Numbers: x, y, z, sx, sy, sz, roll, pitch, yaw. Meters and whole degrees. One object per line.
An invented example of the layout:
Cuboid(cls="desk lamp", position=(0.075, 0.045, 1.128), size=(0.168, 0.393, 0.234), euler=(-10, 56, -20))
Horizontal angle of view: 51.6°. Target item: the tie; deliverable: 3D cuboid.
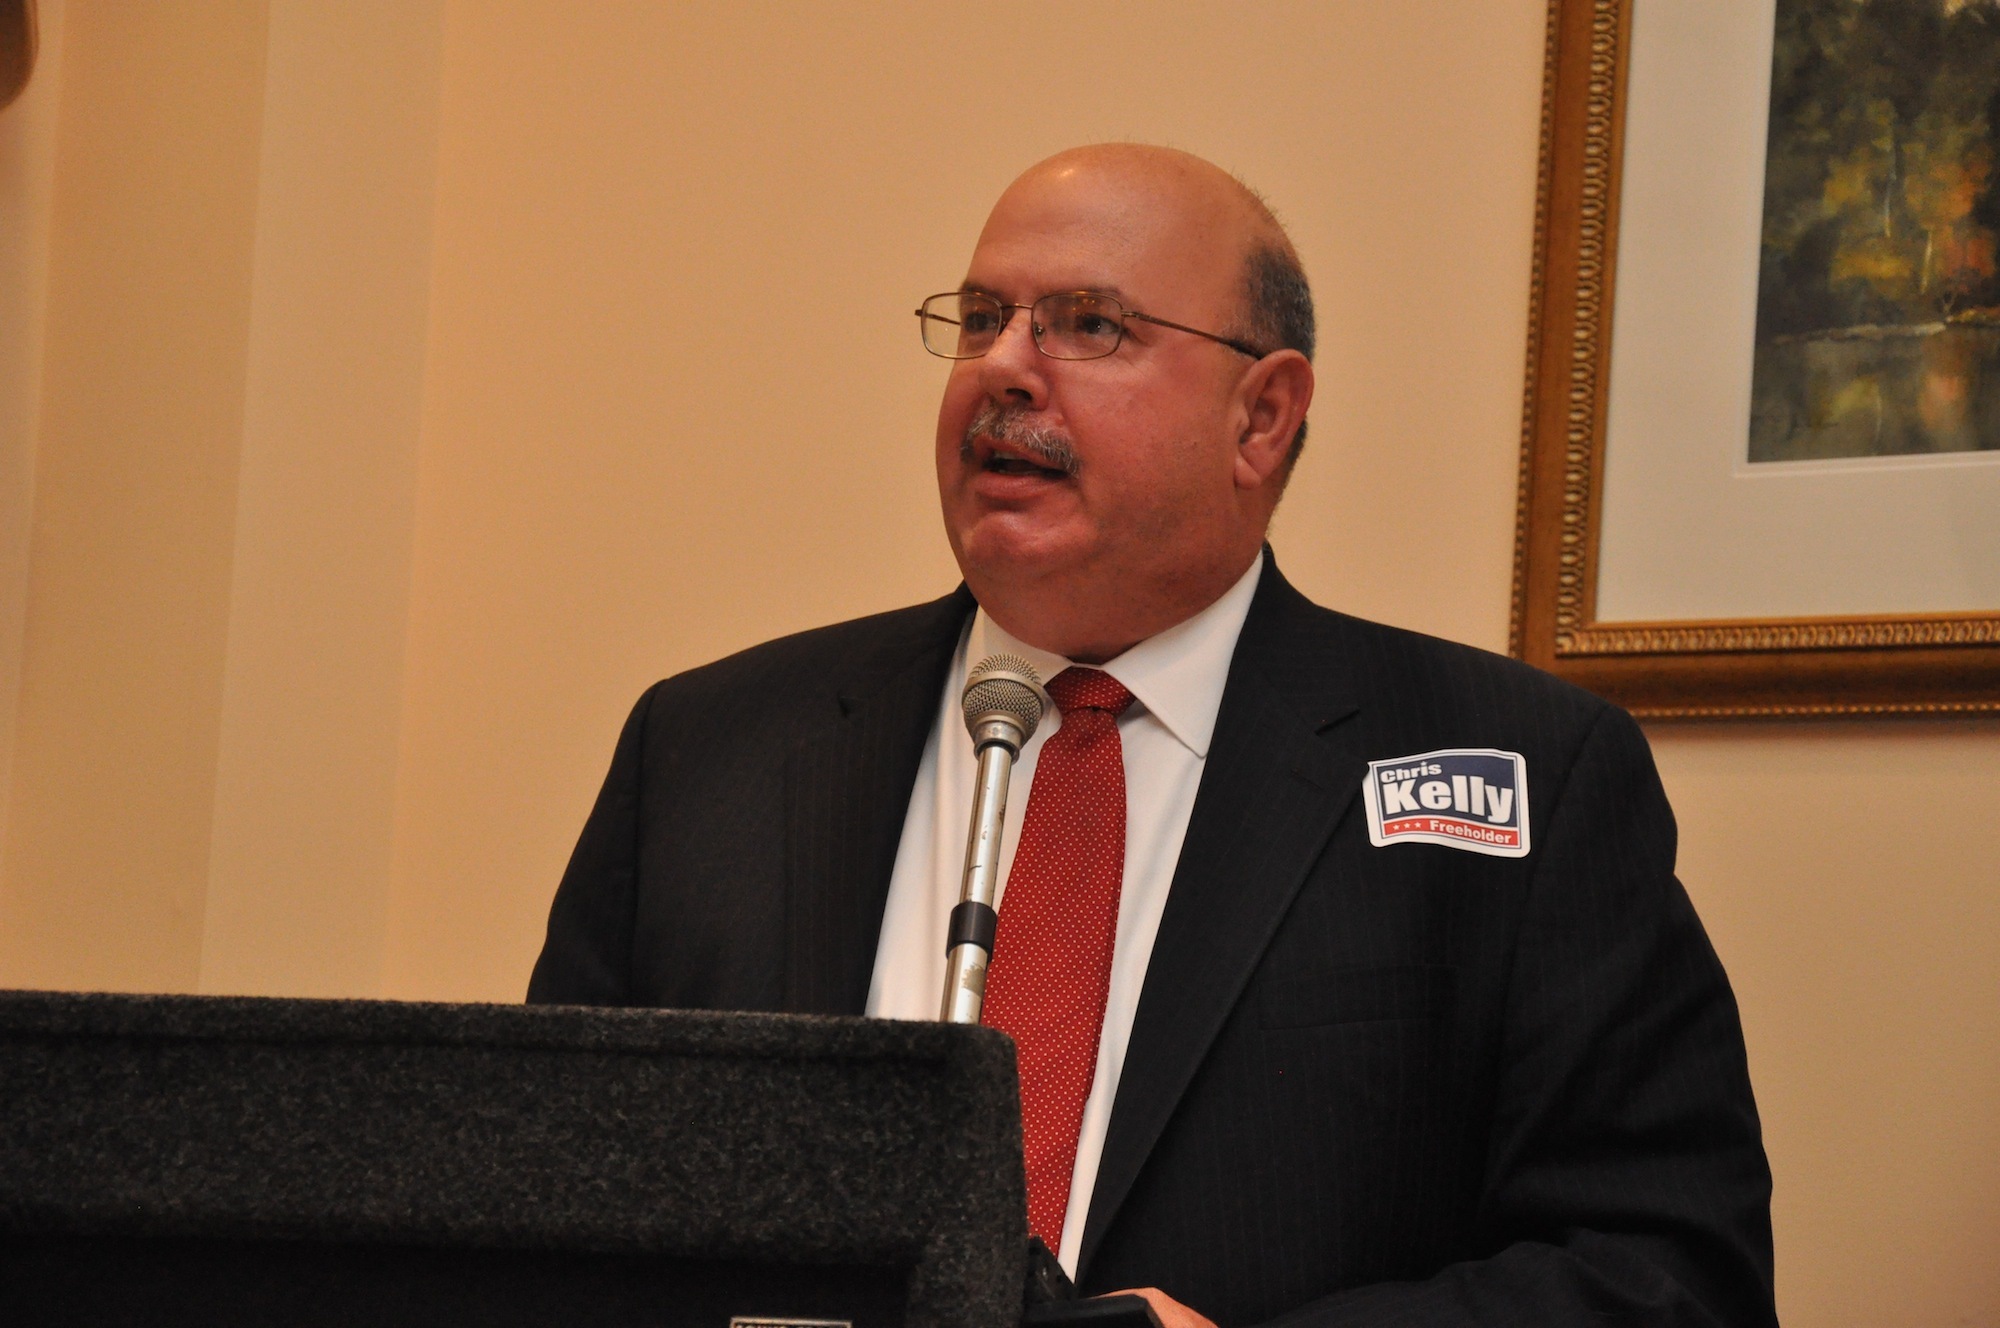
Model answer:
Cuboid(cls="tie", position=(0.070, 0.318, 2.417), size=(0.139, 0.616, 0.058), euler=(-1, -22, 26))

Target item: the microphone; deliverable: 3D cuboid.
Cuboid(cls="microphone", position=(-0.004, 0.166, 2.080), size=(0.084, 0.373, 0.276), euler=(2, -6, 1))
